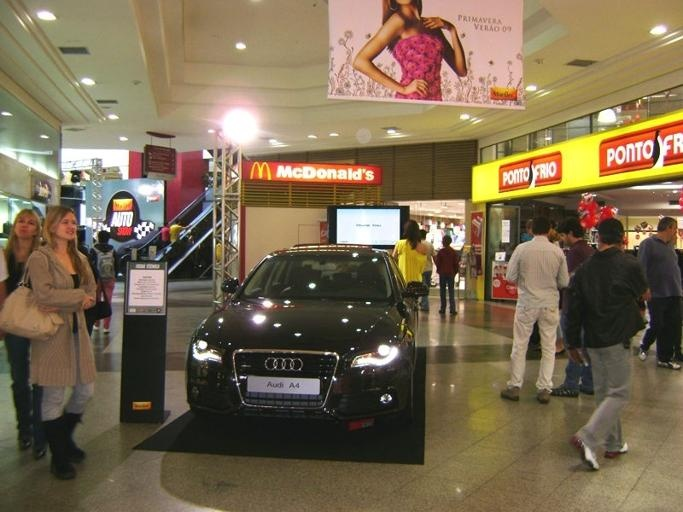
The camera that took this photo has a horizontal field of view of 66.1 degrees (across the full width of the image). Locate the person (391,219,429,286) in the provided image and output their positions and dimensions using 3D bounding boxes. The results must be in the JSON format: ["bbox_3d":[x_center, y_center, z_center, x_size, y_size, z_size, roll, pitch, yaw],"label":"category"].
[{"bbox_3d":[1.174,-0.035,9.125,0.512,0.495,1.525,-1,-43,3],"label":"person"}]

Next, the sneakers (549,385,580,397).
[{"bbox_3d":[2.546,1.530,5.922,0.327,0.152,0.127,2,-1,9],"label":"sneakers"}]

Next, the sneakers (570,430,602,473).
[{"bbox_3d":[1.941,1.541,4.146,0.344,0.142,0.120,45,-13,-7],"label":"sneakers"}]

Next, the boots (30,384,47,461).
[{"bbox_3d":[-2.555,1.328,4.368,0.105,0.569,0.104,-3,-28,-19],"label":"boots"}]

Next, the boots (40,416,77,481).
[{"bbox_3d":[-2.124,1.426,3.932,0.198,0.432,0.245,0,1,-36],"label":"boots"}]

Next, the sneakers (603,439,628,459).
[{"bbox_3d":[2.323,1.626,4.431,0.238,0.106,0.085,-6,-4,-44],"label":"sneakers"}]

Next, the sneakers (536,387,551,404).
[{"bbox_3d":[2.225,1.520,5.746,0.089,0.088,0.209,-1,-5,12],"label":"sneakers"}]

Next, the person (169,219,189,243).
[{"bbox_3d":[-7.582,-1.135,24.230,0.778,1.019,2.816,0,2,-17],"label":"person"}]

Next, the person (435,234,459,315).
[{"bbox_3d":[2.561,0.438,12.606,0.601,1.841,0.636,0,1,-8],"label":"person"}]

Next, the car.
[{"bbox_3d":[-0.298,0.592,4.674,1.175,0.885,2.547,-1,0,7],"label":"car"}]

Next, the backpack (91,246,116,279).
[{"bbox_3d":[-4.134,0.050,9.273,0.346,0.580,0.525,-2,14,-27],"label":"backpack"}]
